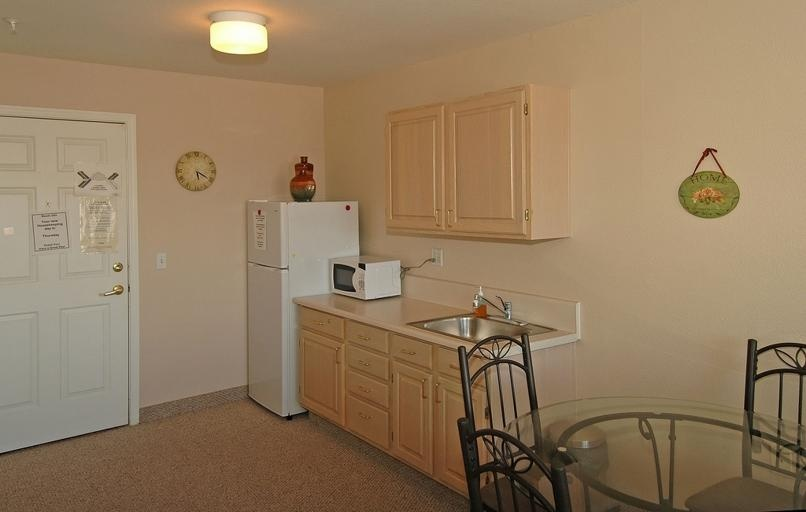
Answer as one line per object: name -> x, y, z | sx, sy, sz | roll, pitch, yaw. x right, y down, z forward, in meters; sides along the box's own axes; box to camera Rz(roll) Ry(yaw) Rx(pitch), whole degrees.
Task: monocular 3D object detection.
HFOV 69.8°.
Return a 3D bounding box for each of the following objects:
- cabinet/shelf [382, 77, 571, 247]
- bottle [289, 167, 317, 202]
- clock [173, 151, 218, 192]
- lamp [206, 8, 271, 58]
cabinet/shelf -> 0.515, -0.655, 4.455 | 0.511, 1.037, 1.531 | -7, 8, -40
bottle -> -0.901, -0.660, 5.291 | 0.295, 0.345, 0.292 | -3, 8, -31
clock -> -1.883, -0.780, 5.244 | 0.349, 0.332, 0.342 | -12, 32, -39
lamp -> -1.145, -1.530, 4.016 | 0.381, 0.221, 0.371 | -2, 10, -6
